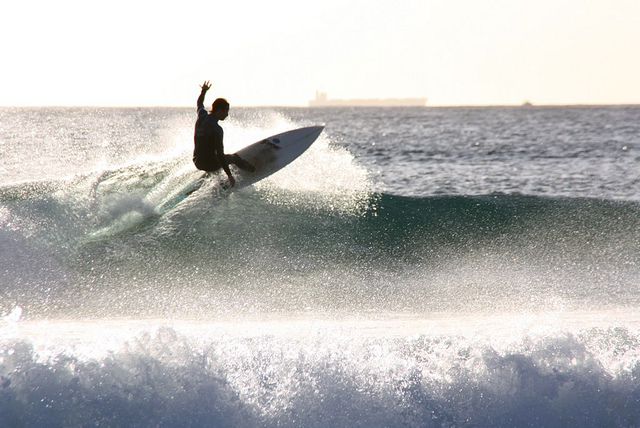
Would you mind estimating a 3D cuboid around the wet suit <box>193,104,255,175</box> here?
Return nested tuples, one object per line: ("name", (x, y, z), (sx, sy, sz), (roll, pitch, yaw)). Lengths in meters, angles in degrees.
("wet suit", (-2.545, -1.739, 17.789), (0.930, 1.616, 0.423), (8, 10, 37))

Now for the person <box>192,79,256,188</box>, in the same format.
("person", (-2.358, -1.824, 17.726), (1.204, 2.499, 0.944), (0, 8, -9))
